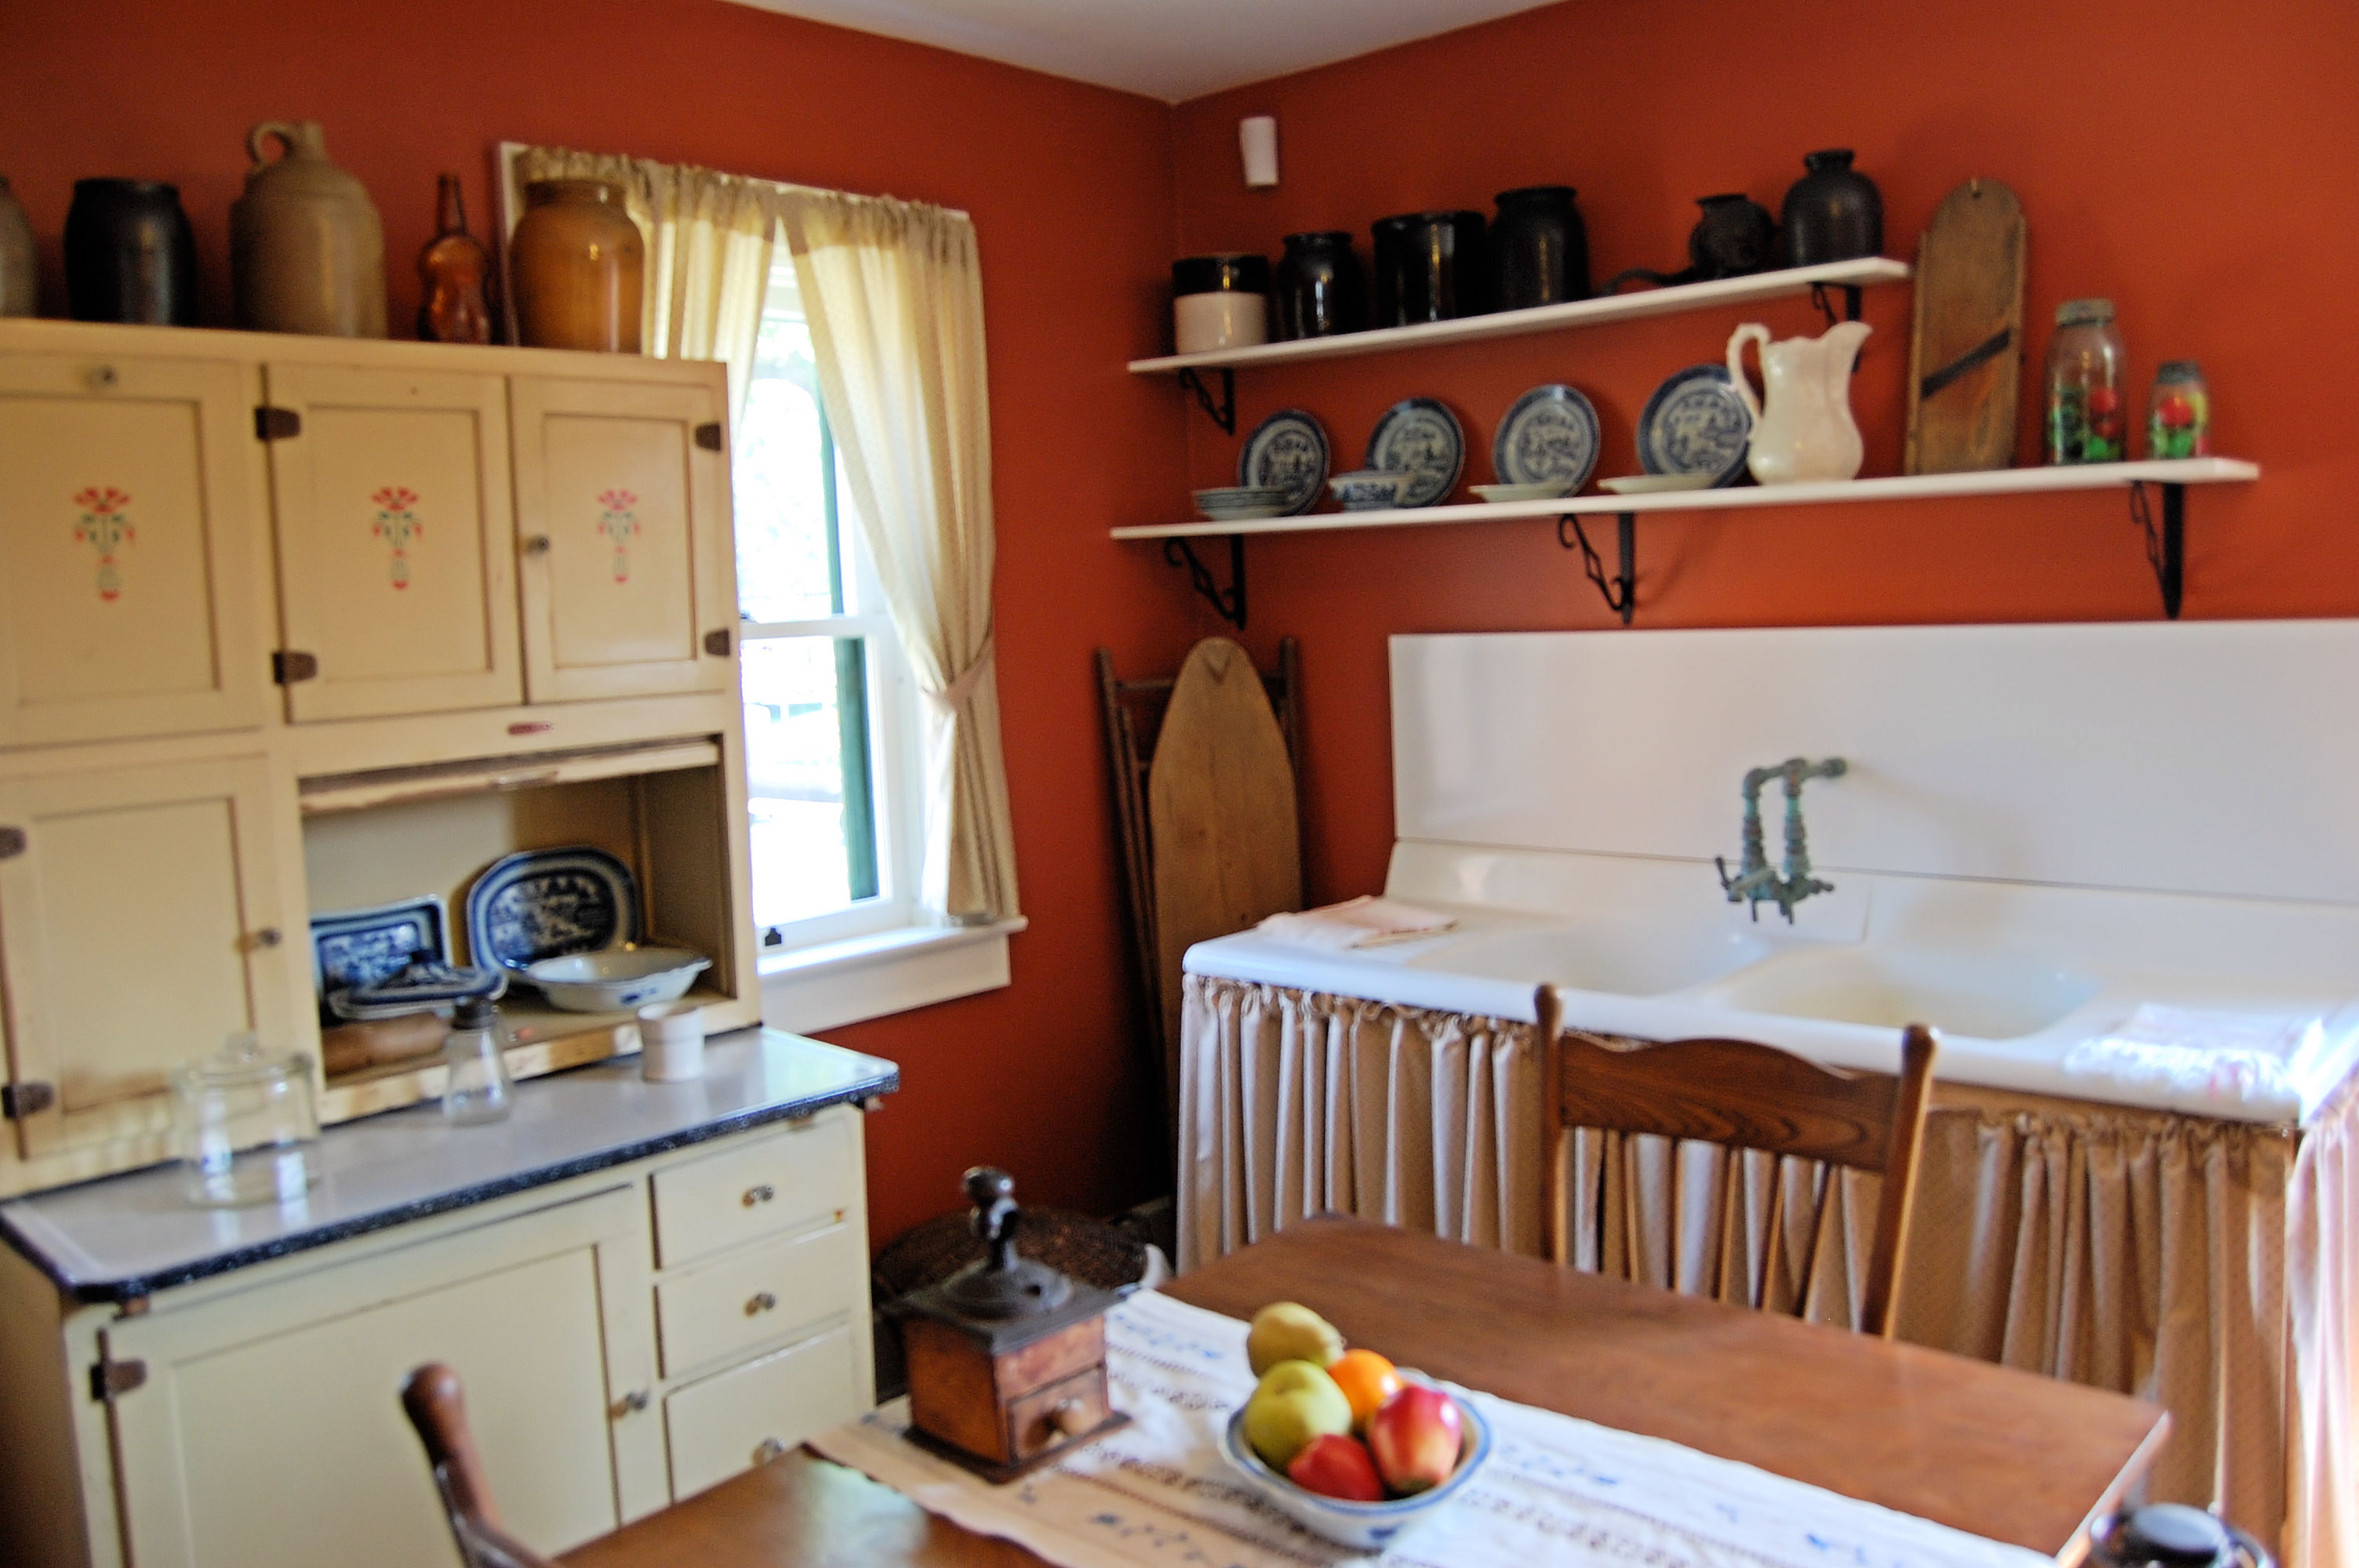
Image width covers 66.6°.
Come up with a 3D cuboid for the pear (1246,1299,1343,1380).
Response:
[{"bbox_3d":[0.145,0.680,2.186,0.105,0.078,0.076,-9,-15,15],"label":"pear"}]

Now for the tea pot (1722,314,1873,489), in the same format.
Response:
[{"bbox_3d":[1.249,-0.762,3.602,0.352,0.356,0.243,-1,7,19],"label":"tea pot"}]

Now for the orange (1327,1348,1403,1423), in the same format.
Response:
[{"bbox_3d":[0.221,0.708,2.122,0.070,0.074,0.074,-22,9,-13],"label":"orange"}]

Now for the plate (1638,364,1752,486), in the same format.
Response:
[{"bbox_3d":[1.118,-0.783,3.909,0.242,0.244,0.042,19,16,39],"label":"plate"}]

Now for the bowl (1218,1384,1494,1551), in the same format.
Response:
[{"bbox_3d":[0.213,0.814,2.071,0.194,0.074,0.191,-5,6,1],"label":"bowl"}]

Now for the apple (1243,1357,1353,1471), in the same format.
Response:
[{"bbox_3d":[0.137,0.731,2.146,0.110,0.117,0.115,-15,15,-6],"label":"apple"}]

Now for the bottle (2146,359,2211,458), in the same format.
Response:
[{"bbox_3d":[1.849,-0.694,3.311,0.110,0.173,0.084,-2,10,10],"label":"bottle"}]

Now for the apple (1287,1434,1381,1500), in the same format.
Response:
[{"bbox_3d":[0.180,0.786,2.047,0.081,0.064,0.060,18,-3,-1],"label":"apple"}]

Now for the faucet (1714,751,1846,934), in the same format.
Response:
[{"bbox_3d":[1.268,0.121,3.776,0.273,0.361,0.227,-1,10,16],"label":"faucet"}]

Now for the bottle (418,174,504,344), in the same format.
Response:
[{"bbox_3d":[-1.316,-0.955,3.248,0.132,0.311,0.164,-7,10,-17],"label":"bottle"}]

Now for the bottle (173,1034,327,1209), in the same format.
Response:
[{"bbox_3d":[-1.474,0.527,2.862,0.228,0.257,0.230,0,-2,29],"label":"bottle"}]

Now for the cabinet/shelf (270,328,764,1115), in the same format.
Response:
[{"bbox_3d":[-1.205,-0.142,3.355,0.827,1.319,0.395,-9,11,-26],"label":"cabinet/shelf"}]

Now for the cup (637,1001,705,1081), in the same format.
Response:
[{"bbox_3d":[-0.919,0.476,3.327,0.102,0.108,0.130,-2,-2,17],"label":"cup"}]

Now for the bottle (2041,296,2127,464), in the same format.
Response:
[{"bbox_3d":[1.740,-0.763,3.382,0.193,0.298,0.136,-6,10,-15],"label":"bottle"}]
